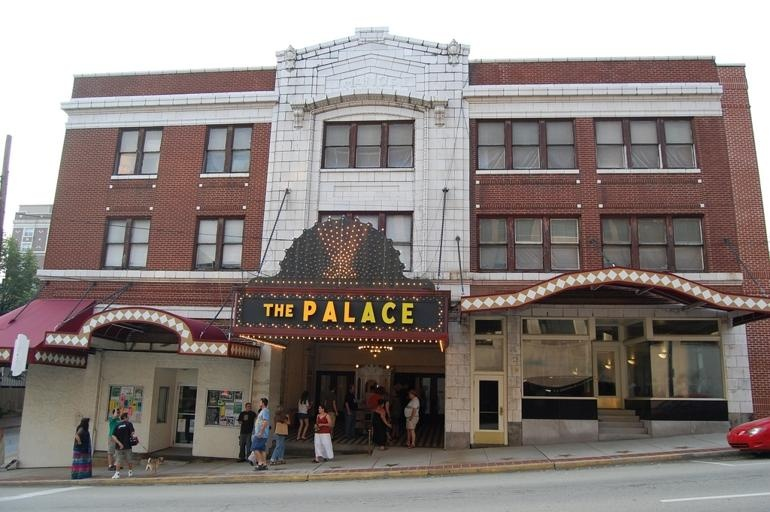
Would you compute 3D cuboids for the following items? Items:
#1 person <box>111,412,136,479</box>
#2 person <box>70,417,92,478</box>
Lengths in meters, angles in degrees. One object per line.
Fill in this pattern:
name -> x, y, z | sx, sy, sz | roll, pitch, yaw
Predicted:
person -> -10.463, 7.556, 26.573 | 0.928, 2.503, 1.327 | 6, -17, -20
person -> -11.953, 7.634, 26.323 | 0.720, 2.320, 0.789 | 7, -18, -23
